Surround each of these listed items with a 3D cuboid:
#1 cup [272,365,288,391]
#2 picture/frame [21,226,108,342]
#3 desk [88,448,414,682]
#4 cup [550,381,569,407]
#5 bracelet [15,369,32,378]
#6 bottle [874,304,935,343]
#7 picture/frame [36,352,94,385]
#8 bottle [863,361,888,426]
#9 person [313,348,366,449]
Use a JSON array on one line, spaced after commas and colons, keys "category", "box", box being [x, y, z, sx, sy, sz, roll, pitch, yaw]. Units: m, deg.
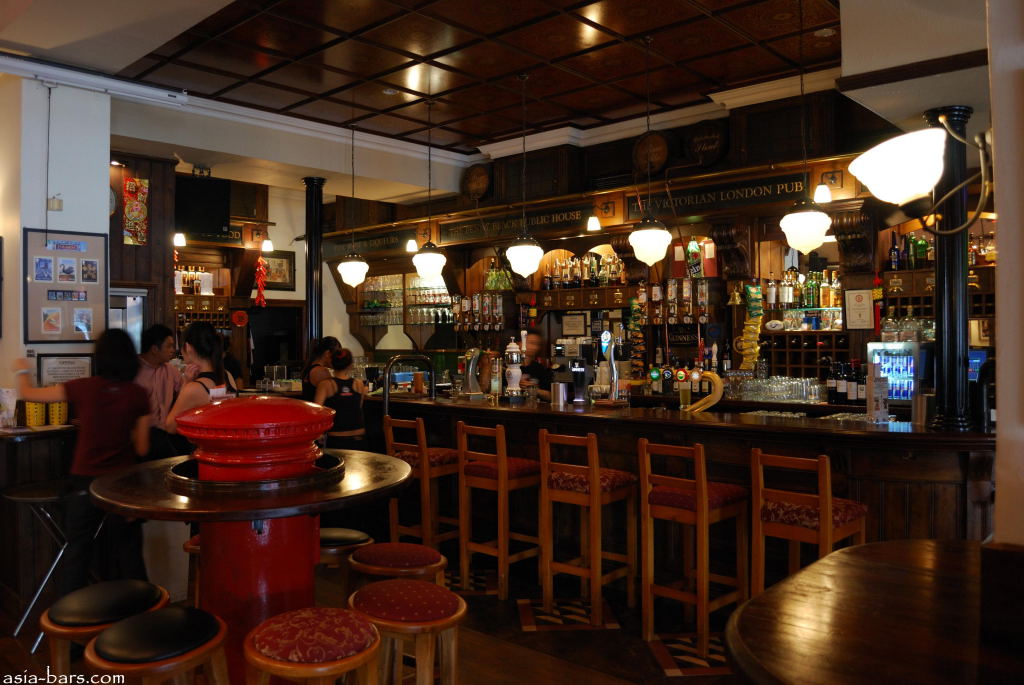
[{"category": "cup", "box": [-2.799, 0.443, 10.137, 0.199, 0.363, 0.197, 1, -6, 0]}, {"category": "picture/frame", "box": [-3.871, -0.481, 7.327, 0.740, 1.017, 0.243, -9, 16, -29]}, {"category": "desk", "box": [-1.318, 1.041, 4.302, 1.286, 0.856, 1.272, 2, 2, -5]}, {"category": "cup", "box": [0.387, 0.447, 7.014, 0.167, 0.267, 0.170, -1, -2, 0]}, {"category": "bracelet", "box": [-3.468, 0.227, 5.983, 0.065, 0.047, 0.064, -1, 3, -29]}, {"category": "bottle", "box": [3.712, -0.158, 7.937, 0.438, 0.304, 0.558, 5, 15, 24]}, {"category": "picture/frame", "box": [-3.801, 0.227, 7.116, 0.287, 0.241, 0.039, -1, -3, -45]}, {"category": "bottle", "box": [2.506, 0.360, 5.790, 0.149, 0.395, 0.371, 5, 15, 23]}, {"category": "person", "box": [-1.492, 0.491, 7.359, 0.371, 0.827, 0.732, -2, 14, -5]}]
